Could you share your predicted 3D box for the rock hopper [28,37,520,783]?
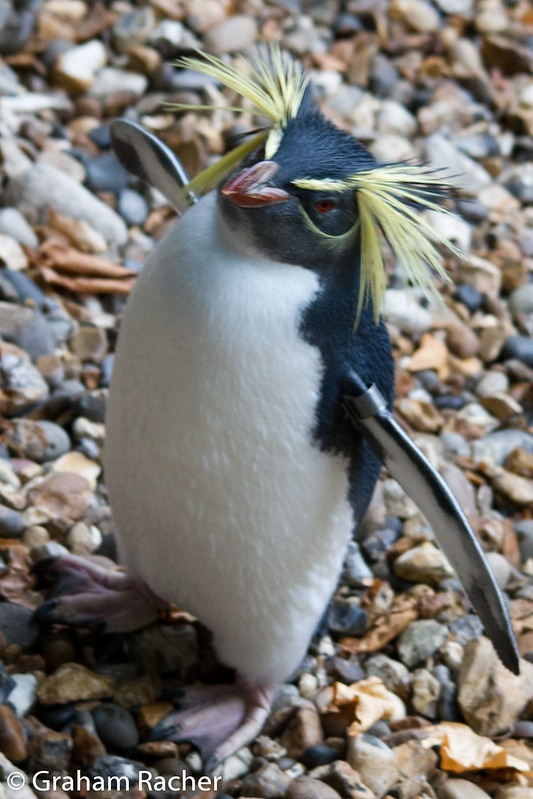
[{"bbox_3d":[0.000,0.045,1.217,0.607,0.702,0.771,-16,59,-27],"label":"rock hopper"}]
